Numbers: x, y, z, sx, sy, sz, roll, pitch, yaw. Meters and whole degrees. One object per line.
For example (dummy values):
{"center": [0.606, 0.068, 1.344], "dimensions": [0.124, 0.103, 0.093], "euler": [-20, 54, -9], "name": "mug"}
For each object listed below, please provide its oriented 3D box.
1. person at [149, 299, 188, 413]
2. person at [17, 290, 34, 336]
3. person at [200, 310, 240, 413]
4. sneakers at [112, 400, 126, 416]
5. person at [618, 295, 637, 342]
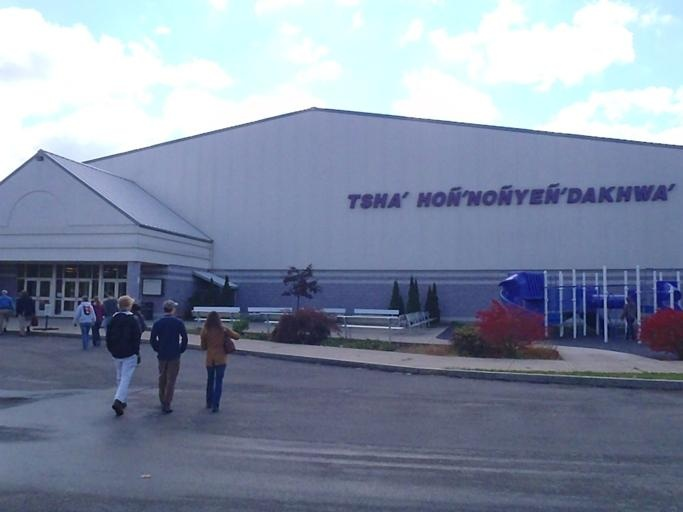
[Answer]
{"center": [-3.723, 2.162, 15.340], "dimensions": [0.655, 2.338, 0.680], "euler": [0, -3, 33], "name": "person"}
{"center": [-11.727, 2.105, 26.270], "dimensions": [0.541, 1.625, 1.960], "euler": [2, -3, -24], "name": "person"}
{"center": [-2.721, 2.275, 15.533], "dimensions": [0.728, 2.101, 1.034], "euler": [2, -2, -11], "name": "person"}
{"center": [-4.629, 3.142, 14.715], "dimensions": [0.141, 0.456, 0.179], "euler": [3, 14, 14], "name": "sneakers"}
{"center": [10.977, 2.367, 27.006], "dimensions": [0.480, 1.664, 2.008], "euler": [0, -3, 22], "name": "person"}
